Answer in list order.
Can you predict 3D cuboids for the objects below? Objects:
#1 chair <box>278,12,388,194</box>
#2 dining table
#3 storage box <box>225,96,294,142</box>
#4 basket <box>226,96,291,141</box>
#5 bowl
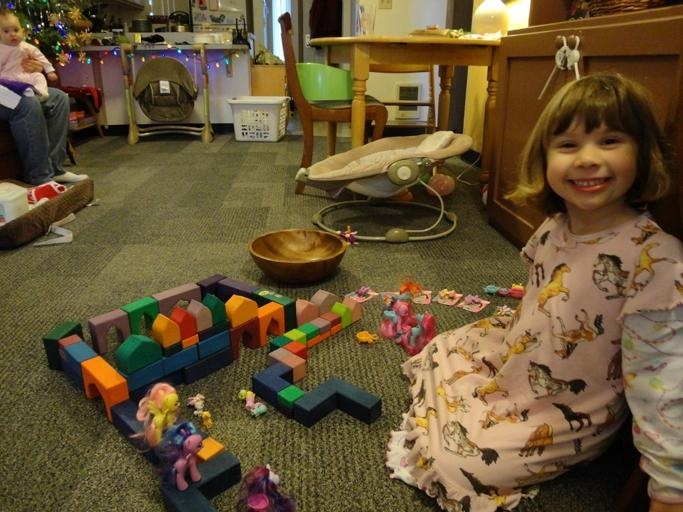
[{"bbox_3d":[0.021,-0.973,3.082,0.554,0.942,0.661,-23,34,-37],"label":"chair"},{"bbox_3d":[0.408,-0.830,3.197,1.088,0.778,1.074,-4,21,-5],"label":"dining table"},{"bbox_3d":[-0.846,-1.414,5.017,0.545,0.356,0.470,-1,27,-1],"label":"storage box"},{"bbox_3d":[-0.844,-1.398,5.021,0.543,0.350,0.463,0,28,1],"label":"basket"},{"bbox_3d":[-0.148,0.004,1.866,0.349,0.112,0.335,1,22,0],"label":"bowl"}]
